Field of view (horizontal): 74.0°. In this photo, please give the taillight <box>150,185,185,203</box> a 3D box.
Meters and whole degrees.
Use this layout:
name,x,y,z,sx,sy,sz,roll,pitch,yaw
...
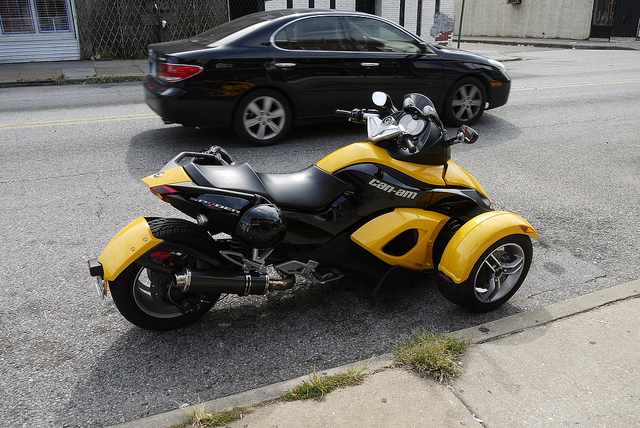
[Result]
name,x,y,z,sx,sy,sz,roll,pitch,yaw
taillight,-1.145,-0.165,3.186,0.268,0.115,0.081,10,27,24

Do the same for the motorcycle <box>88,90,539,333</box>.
name,x,y,z,sx,sy,sz,roll,pitch,yaw
motorcycle,0.013,0.071,3.949,3.840,1.230,2.069,-7,16,-42
